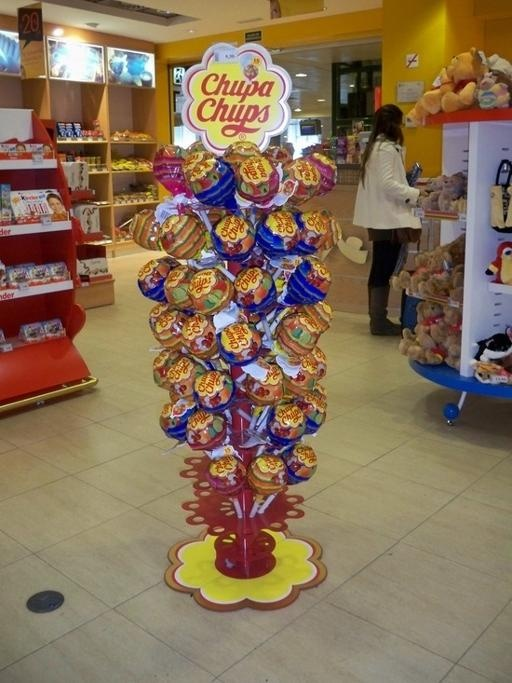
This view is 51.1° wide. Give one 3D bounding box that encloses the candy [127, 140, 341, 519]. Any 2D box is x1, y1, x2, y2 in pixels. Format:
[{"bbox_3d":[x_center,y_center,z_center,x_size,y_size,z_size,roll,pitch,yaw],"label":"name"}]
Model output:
[{"bbox_3d":[-0.075,0.017,1.439,0.564,1.069,0.392,1,11,8],"label":"candy"}]
